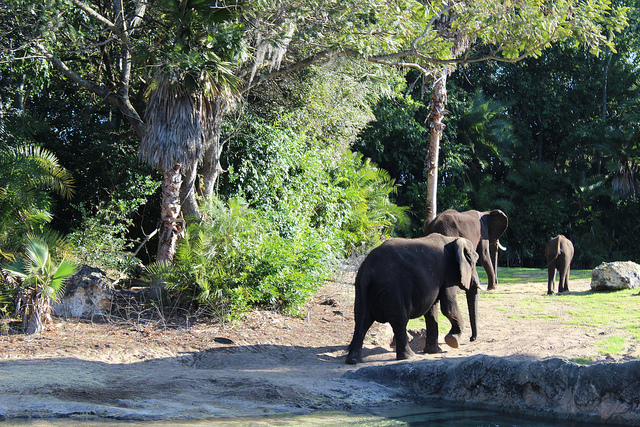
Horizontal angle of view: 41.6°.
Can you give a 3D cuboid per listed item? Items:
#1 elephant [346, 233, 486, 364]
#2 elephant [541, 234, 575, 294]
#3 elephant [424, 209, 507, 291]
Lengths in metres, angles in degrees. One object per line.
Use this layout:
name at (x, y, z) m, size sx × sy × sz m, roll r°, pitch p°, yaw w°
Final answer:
elephant at (2.526, 1.997, 20.697) m, size 4.169 × 3.022 × 1.889 m, roll -3°, pitch 4°, yaw -27°
elephant at (7.493, 1.753, 26.521) m, size 0.805 × 1.658 × 2.706 m, roll 4°, pitch 13°, yaw 16°
elephant at (4.668, 1.217, 25.524) m, size 1.802 × 2.558 × 4.037 m, roll -8°, pitch -8°, yaw 41°
